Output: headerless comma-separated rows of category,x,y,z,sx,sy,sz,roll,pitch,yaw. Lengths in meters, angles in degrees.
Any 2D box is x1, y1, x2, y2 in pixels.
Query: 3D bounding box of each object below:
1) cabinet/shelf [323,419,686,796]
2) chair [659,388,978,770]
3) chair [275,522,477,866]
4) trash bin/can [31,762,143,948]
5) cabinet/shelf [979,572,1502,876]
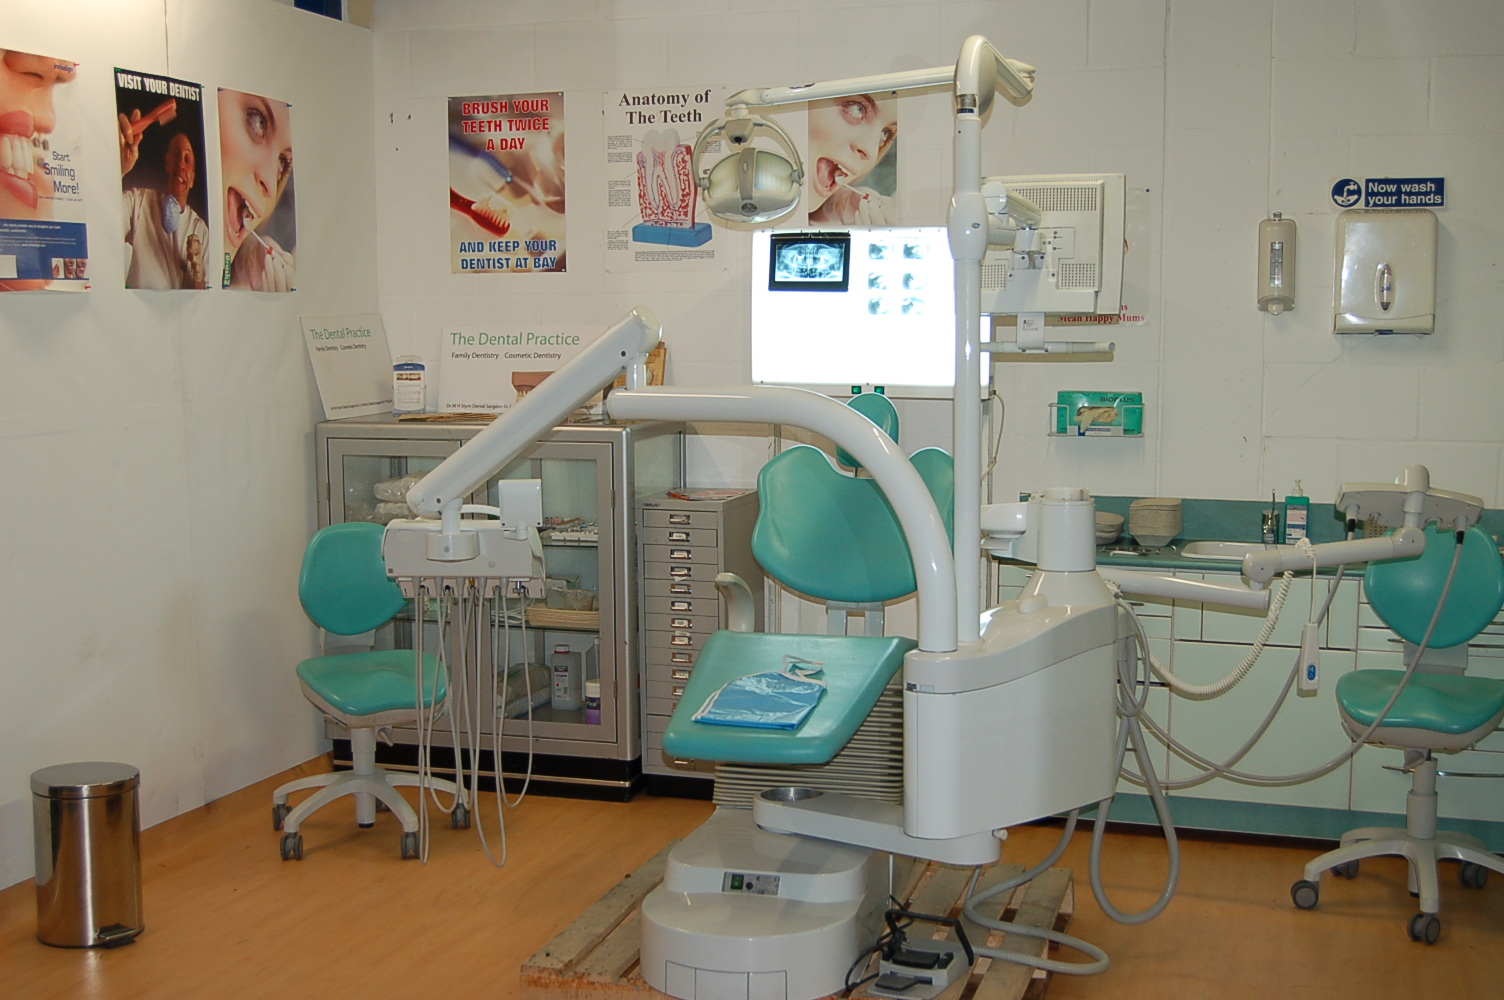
cabinet/shelf,-1.080,0.509,5.484,1.744,2.077,0.710,0,1,10
chair,0.224,0.232,4.413,0.856,1.197,1.140,2,0,22
chair,-1.709,0.800,5.439,0.963,1.316,0.954,-3,9,-43
trash bin/can,-2.565,1.344,4.701,0.398,0.585,0.456,-7,16,-24
cabinet/shelf,1.944,0.820,4.643,1.289,0.633,0.379,1,0,18
